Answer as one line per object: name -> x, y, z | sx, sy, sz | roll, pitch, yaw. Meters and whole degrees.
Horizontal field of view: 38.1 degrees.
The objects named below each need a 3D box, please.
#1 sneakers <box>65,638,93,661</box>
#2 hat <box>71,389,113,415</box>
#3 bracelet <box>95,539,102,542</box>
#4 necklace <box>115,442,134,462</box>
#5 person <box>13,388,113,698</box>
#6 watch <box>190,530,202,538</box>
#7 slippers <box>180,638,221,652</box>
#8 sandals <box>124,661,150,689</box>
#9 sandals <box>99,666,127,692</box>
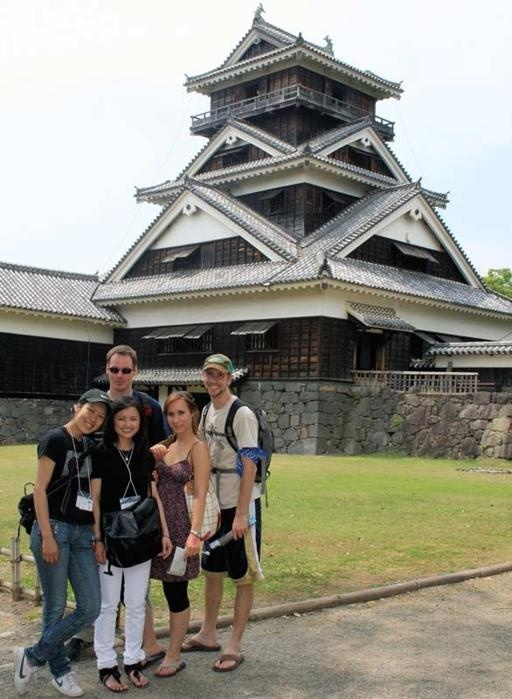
sneakers -> -1.087, 1.849, 4.559 | 0.140, 0.165, 0.137 | 2, 1, -24
hat -> -0.933, 0.289, 4.254 | 0.139, 0.093, 0.185 | 15, -26, -25
bracelet -> -0.895, 1.087, 4.205 | 0.024, 0.020, 0.016 | 14, -19, -19
necklace -> -0.754, 0.604, 4.244 | 0.085, 0.072, 0.092 | 3, -15, -17
person -> -1.058, 1.053, 4.087 | 0.589, 1.616, 0.421 | -4, 1, -11
watch -> -0.352, 1.082, 4.325 | 0.050, 0.011, 0.049 | 25, -11, 23
slippers -> -0.356, 1.854, 4.668 | 0.218, 0.056, 0.081 | 6, -10, -4
sandals -> -0.655, 1.815, 4.129 | 0.071, 0.075, 0.197 | 2, -7, -32
sandals -> -0.782, 1.804, 4.060 | 0.076, 0.085, 0.201 | 3, -8, -29
